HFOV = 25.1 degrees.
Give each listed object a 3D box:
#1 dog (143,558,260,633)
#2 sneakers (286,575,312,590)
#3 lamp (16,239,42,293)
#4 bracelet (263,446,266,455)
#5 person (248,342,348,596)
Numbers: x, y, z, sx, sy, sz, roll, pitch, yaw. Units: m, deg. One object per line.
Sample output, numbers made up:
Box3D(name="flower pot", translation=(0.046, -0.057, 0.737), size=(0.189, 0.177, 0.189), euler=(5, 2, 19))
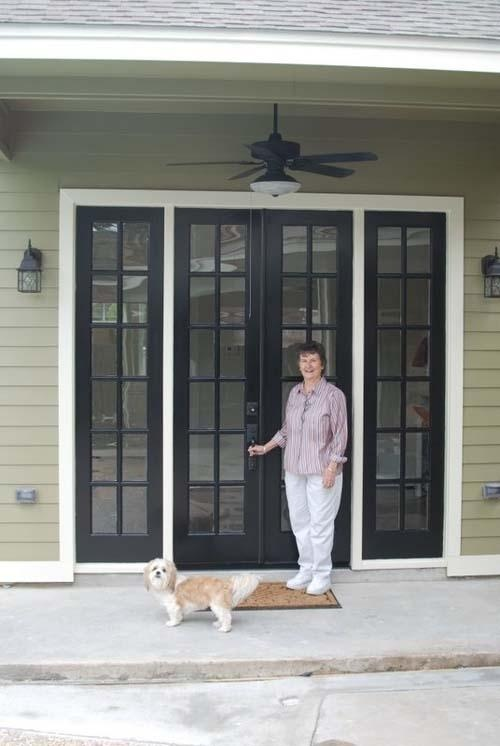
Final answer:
Box3D(name="dog", translation=(-0.143, 1.181, 5.948), size=(0.772, 0.433, 0.281), euler=(2, -9, 13))
Box3D(name="sneakers", translation=(0.285, 1.228, 6.610), size=(0.135, 0.061, 0.069), euler=(11, -7, -35))
Box3D(name="lamp", translation=(-1.292, -0.626, 6.669), size=(0.149, 0.316, 0.134), euler=(-2, -2, -13))
Box3D(name="bracelet", translation=(0.087, 0.476, 6.762), size=(0.010, 0.038, 0.027), euler=(6, 16, 4))
Box3D(name="person", translation=(0.348, 0.562, 6.605), size=(0.529, 1.462, 0.247), euler=(-4, -2, 39))
